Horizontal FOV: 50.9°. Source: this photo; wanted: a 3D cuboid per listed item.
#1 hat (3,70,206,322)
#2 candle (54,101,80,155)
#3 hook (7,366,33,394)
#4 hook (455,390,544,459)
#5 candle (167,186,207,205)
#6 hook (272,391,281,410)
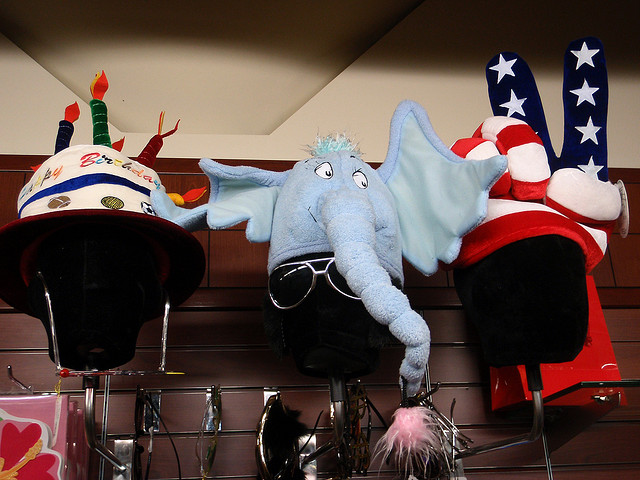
[{"bbox_3d":[-0.608,-0.084,2.042,0.533,0.777,0.525,1,9,-5],"label":"hat"},{"bbox_3d":[-0.742,-0.349,2.031,0.051,0.195,0.053,7,-34,-3],"label":"candle"},{"bbox_3d":[-0.889,0.413,1.991,0.065,0.079,0.140,2,-11,-24],"label":"hook"},{"bbox_3d":[0.533,0.502,1.938,0.228,0.187,0.183,3,6,22],"label":"hook"},{"bbox_3d":[-0.437,-0.143,2.210,0.116,0.039,0.041,-29,-2,-41],"label":"candle"},{"bbox_3d":[-0.117,0.455,1.902,0.010,0.037,0.026,14,-18,-14],"label":"hook"}]
